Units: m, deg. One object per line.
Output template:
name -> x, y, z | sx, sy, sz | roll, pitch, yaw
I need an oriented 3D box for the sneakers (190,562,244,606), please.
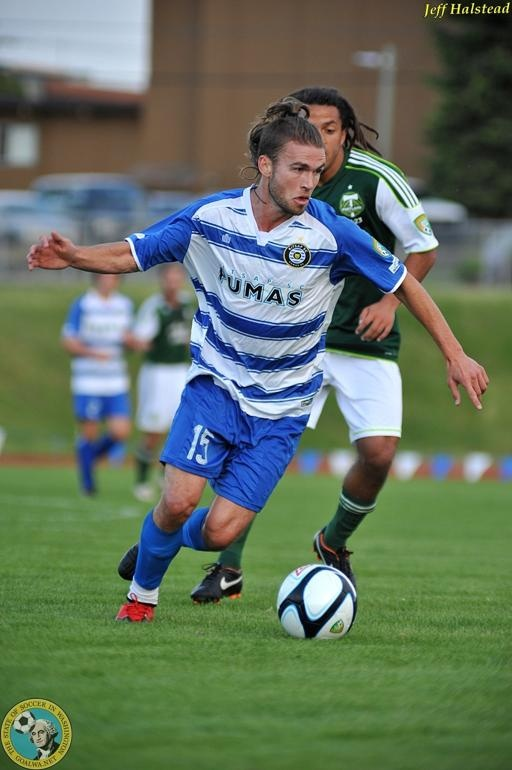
sneakers -> -0.164, 0.867, 3.968 | 0.109, 0.128, 0.294 | -1, -1, 38

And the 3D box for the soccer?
soccer -> 0.219, 0.796, 3.276 | 0.278, 0.202, 0.260 | 9, 20, 4

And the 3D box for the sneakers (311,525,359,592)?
sneakers -> 0.364, 0.790, 4.156 | 0.123, 0.323, 0.177 | -33, -3, -27
